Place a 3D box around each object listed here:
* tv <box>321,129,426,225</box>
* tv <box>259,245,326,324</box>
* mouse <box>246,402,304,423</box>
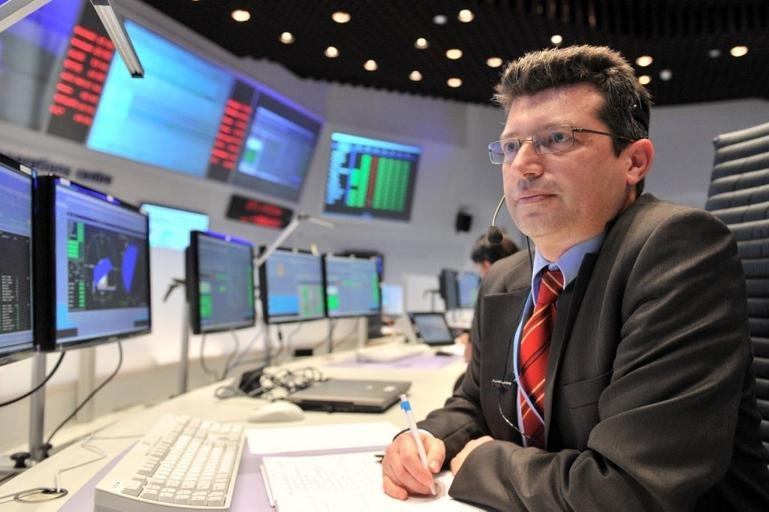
[{"bbox_3d":[-0.137,-0.813,5.248,1.134,0.743,0.228,5,3,-37],"label":"tv"},{"bbox_3d":[-0.490,0.154,2.696,0.058,0.320,0.443,-8,-8,23],"label":"tv"},{"bbox_3d":[-0.383,0.552,1.843,0.133,0.043,0.080,3,-5,-8],"label":"mouse"}]
